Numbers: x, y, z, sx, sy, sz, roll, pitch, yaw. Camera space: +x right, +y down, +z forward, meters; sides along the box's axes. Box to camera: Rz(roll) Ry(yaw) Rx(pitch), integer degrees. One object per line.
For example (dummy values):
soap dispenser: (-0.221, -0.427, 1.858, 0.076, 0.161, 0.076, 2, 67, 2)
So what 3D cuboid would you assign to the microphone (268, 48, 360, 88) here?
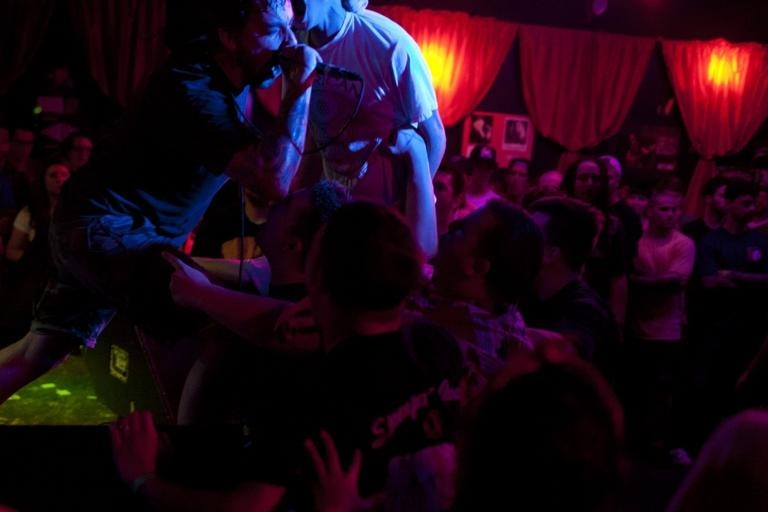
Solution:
microphone: (-0.319, -0.803, 2.898, 0.513, 0.075, 0.066, 13, 6, -11)
